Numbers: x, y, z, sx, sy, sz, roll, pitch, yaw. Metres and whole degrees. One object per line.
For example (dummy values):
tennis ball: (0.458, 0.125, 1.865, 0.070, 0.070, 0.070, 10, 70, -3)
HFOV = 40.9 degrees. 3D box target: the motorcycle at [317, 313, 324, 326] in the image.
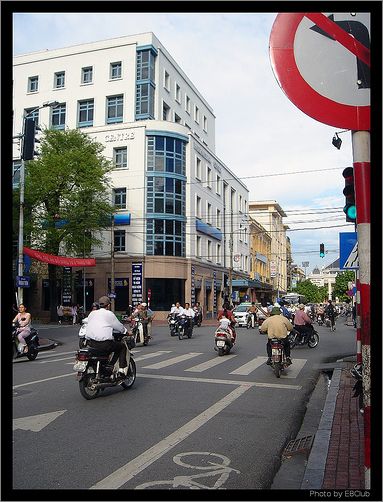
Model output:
motorcycle: (8.510, 4.552, 34.006, 0.354, 0.536, 0.775, -3, -14, 16)

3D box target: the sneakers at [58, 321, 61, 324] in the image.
sneakers: (-9.877, 5.287, 38.116, 0.247, 0.270, 0.448, 8, -10, -14)

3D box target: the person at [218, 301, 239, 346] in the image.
person: (0.989, 2.094, 14.885, 0.589, 1.138, 0.683, 2, 2, 20)

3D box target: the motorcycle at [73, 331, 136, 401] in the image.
motorcycle: (-1.572, 1.929, 8.430, 0.558, 0.977, 1.409, -4, -4, 23)

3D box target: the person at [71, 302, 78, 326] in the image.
person: (-8.577, 4.655, 37.369, 0.299, 1.346, 0.901, 1, -6, -14)

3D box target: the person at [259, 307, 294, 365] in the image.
person: (1.715, 1.805, 10.477, 0.756, 1.146, 1.657, -3, 5, 9)

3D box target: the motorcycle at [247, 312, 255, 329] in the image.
motorcycle: (3.580, 4.207, 31.254, 0.459, 0.964, 1.004, -1, -6, 7)

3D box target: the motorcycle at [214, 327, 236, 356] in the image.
motorcycle: (0.900, 2.515, 14.211, 0.521, 0.753, 0.778, -1, -6, 4)

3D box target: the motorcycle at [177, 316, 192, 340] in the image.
motorcycle: (-0.371, 3.189, 21.492, 0.503, 0.957, 1.552, -2, -6, 14)

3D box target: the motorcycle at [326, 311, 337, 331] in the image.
motorcycle: (8.025, 4.026, 29.653, 0.625, 0.859, 1.429, -10, -46, 6)

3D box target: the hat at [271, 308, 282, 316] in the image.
hat: (1.796, 1.293, 10.935, 0.128, 0.151, 0.175, 2, -7, 6)

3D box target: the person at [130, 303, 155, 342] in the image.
person: (-1.706, 2.560, 17.929, 0.678, 0.897, 1.289, -1, -8, 5)

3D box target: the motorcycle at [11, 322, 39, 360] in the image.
motorcycle: (-4.545, 2.482, 13.850, 0.623, 0.968, 0.934, -5, -7, 42)

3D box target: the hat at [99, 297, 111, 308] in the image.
hat: (-1.449, 0.823, 8.417, 0.154, 0.210, 0.205, 4, -15, 3)

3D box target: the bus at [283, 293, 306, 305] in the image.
bus: (13.831, 6.317, 68.533, 3.031, 1.996, 3.093, -5, -5, 38)

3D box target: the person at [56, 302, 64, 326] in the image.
person: (-10.045, 4.798, 38.841, 0.396, 1.386, 3.424, 1, -6, -14)

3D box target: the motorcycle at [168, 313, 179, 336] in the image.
motorcycle: (-0.849, 3.367, 23.596, 0.429, 0.585, 0.941, -1, -9, 6)

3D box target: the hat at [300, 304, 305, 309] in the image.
hat: (3.474, 1.769, 16.264, 0.135, 0.207, 0.192, 0, -3, 7)

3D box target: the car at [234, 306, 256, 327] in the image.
car: (3.226, 4.144, 32.967, 1.147, 1.183, 2.258, -2, -10, 8)

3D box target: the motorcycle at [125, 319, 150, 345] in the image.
motorcycle: (-1.765, 2.757, 17.641, 0.667, 0.908, 1.402, -7, -17, 15)

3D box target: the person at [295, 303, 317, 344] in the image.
person: (3.551, 2.349, 16.379, 0.584, 1.295, 1.041, -2, -6, 14)

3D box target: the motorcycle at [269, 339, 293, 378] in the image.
motorcycle: (1.720, 2.153, 10.309, 0.351, 0.738, 0.565, -3, -6, 24)

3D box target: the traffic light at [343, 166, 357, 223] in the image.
traffic light: (2.435, -0.848, 7.958, 0.168, 0.735, 1.318, -2, -6, 16)

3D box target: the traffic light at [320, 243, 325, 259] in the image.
traffic light: (6.788, -0.022, 26.805, 0.171, 0.659, 0.470, -1, -5, 11)

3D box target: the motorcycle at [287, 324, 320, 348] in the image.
motorcycle: (3.627, 2.817, 16.572, 1.261, 0.897, 0.670, -1, 0, -22)
